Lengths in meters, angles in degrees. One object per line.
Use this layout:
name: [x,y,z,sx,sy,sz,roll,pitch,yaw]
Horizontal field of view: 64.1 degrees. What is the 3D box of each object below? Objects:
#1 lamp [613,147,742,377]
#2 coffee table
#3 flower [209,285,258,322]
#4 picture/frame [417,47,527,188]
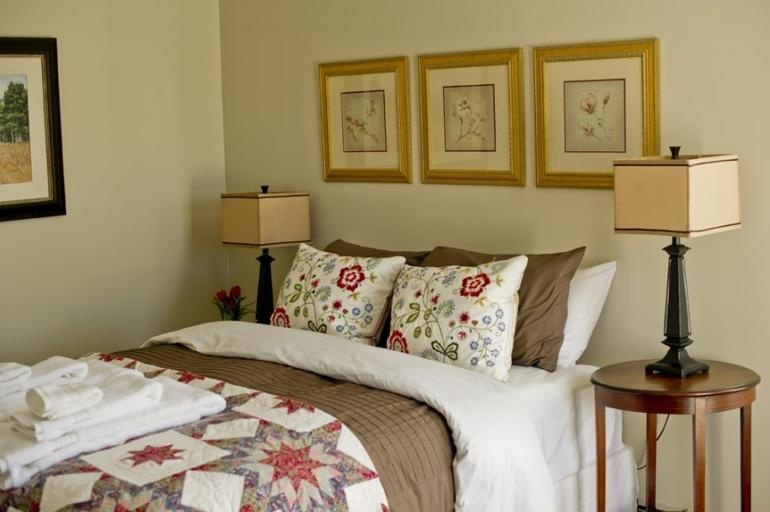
lamp: [1.324,0.020,2.792,0.518,1.027,0.320,-2,7,-24]
coffee table: [1.296,0.861,2.794,0.714,0.719,0.444,3,7,17]
flower: [-1.111,0.405,4.553,0.316,0.276,0.312,11,-4,-24]
picture/frame: [0.548,-0.846,3.673,0.841,0.951,0.075,3,9,33]
